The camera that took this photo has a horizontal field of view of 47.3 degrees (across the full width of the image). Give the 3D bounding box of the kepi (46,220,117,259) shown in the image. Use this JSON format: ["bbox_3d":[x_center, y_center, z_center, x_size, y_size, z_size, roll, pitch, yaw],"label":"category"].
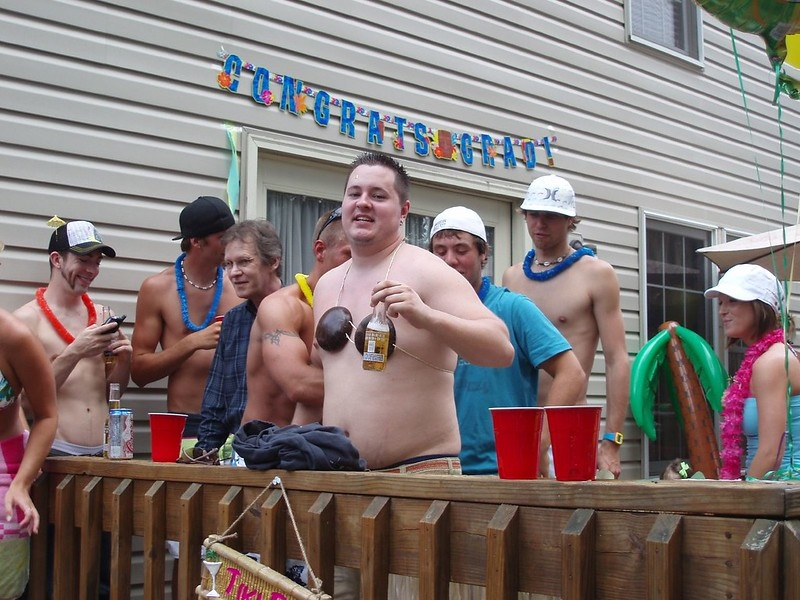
[{"bbox_3d":[-1.842,-0.333,5.251,0.287,0.166,0.199,-6,-4,20],"label":"kepi"}]

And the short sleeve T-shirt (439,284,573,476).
[{"bbox_3d":[0.449,0.372,4.083,0.273,0.787,0.768,9,-19,-39],"label":"short sleeve T-shirt"}]

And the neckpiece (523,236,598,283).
[{"bbox_3d":[1.034,-0.206,5.781,0.449,0.142,0.564,-26,-7,9],"label":"neckpiece"}]

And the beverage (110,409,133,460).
[{"bbox_3d":[-1.433,0.682,4.676,0.117,0.248,0.204,3,-6,-18],"label":"beverage"}]

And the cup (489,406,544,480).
[{"bbox_3d":[0.422,0.515,3.301,0.213,0.247,0.229,1,0,0],"label":"cup"}]

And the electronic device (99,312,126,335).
[{"bbox_3d":[-1.581,0.134,5.023,0.111,0.108,0.187,4,-7,-22],"label":"electronic device"}]

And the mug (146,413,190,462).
[{"bbox_3d":[-1.142,0.648,4.389,0.196,0.225,0.213,0,-5,21],"label":"mug"}]

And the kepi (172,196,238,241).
[{"bbox_3d":[-1.185,-0.495,5.558,0.290,0.193,0.229,-11,15,2],"label":"kepi"}]

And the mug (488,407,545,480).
[{"bbox_3d":[0.422,0.506,3.303,0.214,0.246,0.229,1,-3,-4],"label":"mug"}]

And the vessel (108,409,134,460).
[{"bbox_3d":[-1.425,0.692,4.688,0.116,0.250,0.129,-4,-6,14],"label":"vessel"}]

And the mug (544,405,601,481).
[{"bbox_3d":[0.613,0.492,3.252,0.233,0.273,0.229,2,-5,-21],"label":"mug"}]

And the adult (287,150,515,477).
[{"bbox_3d":[-0.070,0.211,4.006,0.640,1.738,1.044,6,-13,-43],"label":"adult"}]

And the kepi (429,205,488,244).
[{"bbox_3d":[0.307,-0.426,5.182,0.312,0.225,0.338,2,-17,7],"label":"kepi"}]

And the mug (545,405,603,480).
[{"bbox_3d":[0.613,0.492,3.264,0.232,0.273,0.230,2,-5,-19],"label":"mug"}]

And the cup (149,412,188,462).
[{"bbox_3d":[-1.129,0.661,4.410,0.155,0.225,0.218,3,-6,-16],"label":"cup"}]

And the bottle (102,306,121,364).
[{"bbox_3d":[-1.620,0.208,5.116,0.084,0.321,0.089,6,1,0],"label":"bottle"}]
